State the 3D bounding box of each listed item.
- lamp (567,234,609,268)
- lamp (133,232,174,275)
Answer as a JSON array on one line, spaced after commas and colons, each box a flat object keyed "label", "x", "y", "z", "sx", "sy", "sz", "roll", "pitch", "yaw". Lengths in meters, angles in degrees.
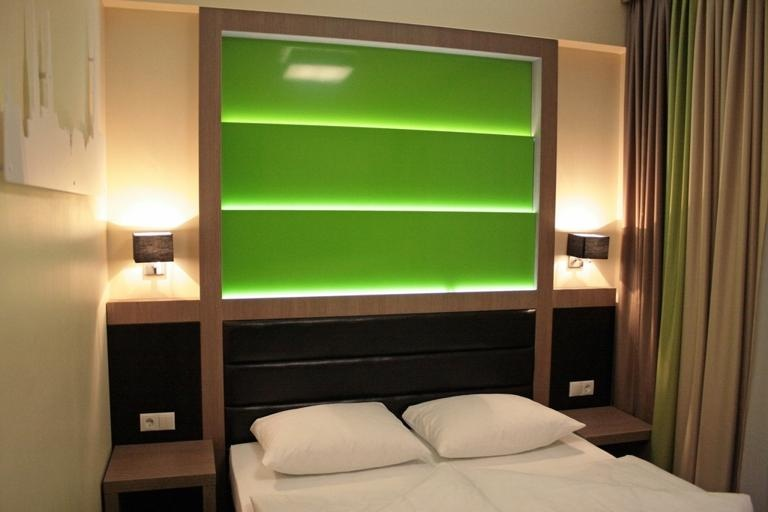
[{"label": "lamp", "x": 1.417, "y": -0.028, "z": 4.202, "sx": 0.253, "sy": 0.352, "sz": 0.265, "roll": 1, "pitch": 2, "yaw": -23}, {"label": "lamp", "x": -1.428, "y": -0.010, "z": 3.738, "sx": 0.271, "sy": 0.288, "sz": 0.268, "roll": 1, "pitch": 0, "yaw": -16}]
